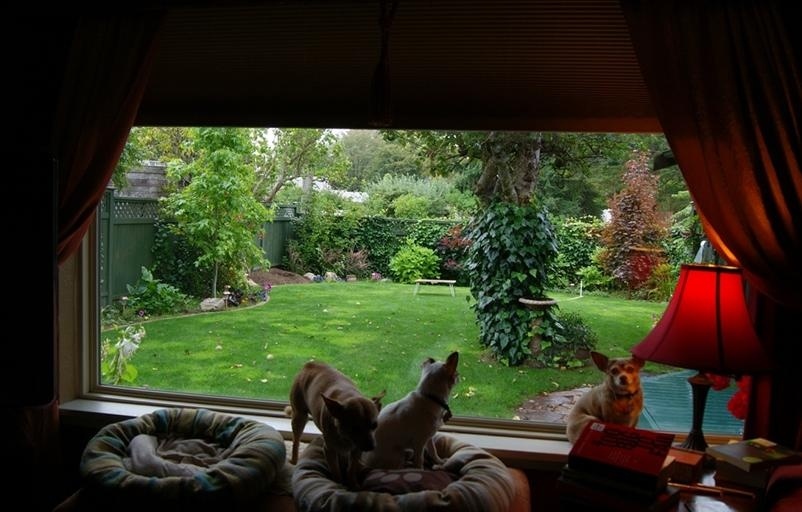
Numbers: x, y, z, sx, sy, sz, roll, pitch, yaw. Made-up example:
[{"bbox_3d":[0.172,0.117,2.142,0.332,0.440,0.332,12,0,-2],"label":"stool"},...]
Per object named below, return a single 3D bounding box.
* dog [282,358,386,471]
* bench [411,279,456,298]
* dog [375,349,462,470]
[{"bbox_3d":[-0.506,0.829,2.868,0.312,0.497,0.808,-1,5,-28],"label":"dog"},{"bbox_3d":[0.496,0.441,7.241,0.750,0.179,0.233,4,1,33],"label":"bench"},{"bbox_3d":[0.030,0.865,2.832,0.555,0.673,0.319,4,2,-10],"label":"dog"}]
